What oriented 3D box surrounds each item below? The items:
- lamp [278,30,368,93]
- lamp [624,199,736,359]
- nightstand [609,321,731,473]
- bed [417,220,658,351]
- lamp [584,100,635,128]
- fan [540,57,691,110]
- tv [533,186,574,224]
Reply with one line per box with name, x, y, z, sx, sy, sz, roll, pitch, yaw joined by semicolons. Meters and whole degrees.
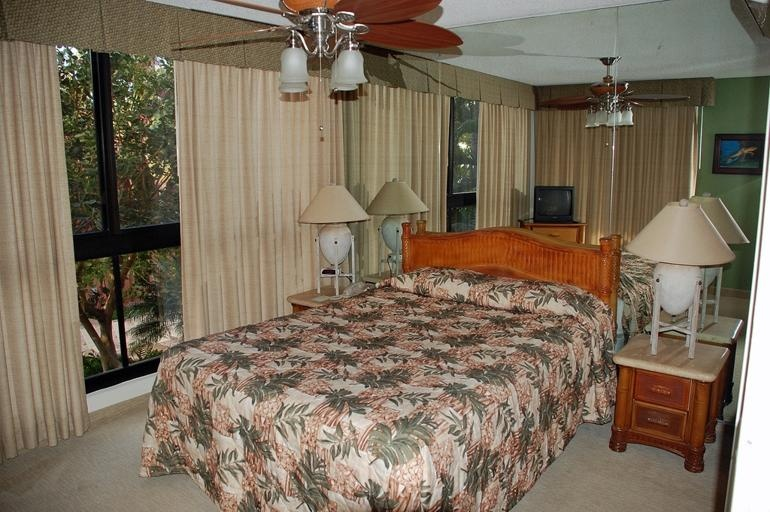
lamp;-0.407;-1.279;3.646;0.603;0.350;0.225;7;26;18
lamp;2.193;0.184;4.161;0.590;1.165;0.430;-5;12;-15
nightstand;2.195;1.081;4.615;0.954;1.009;0.940;6;7;30
bed;1.482;0.188;5.437;1.626;0.935;0.947;11;16;37
lamp;1.901;-1.165;4.690;0.372;0.170;0.143;7;8;36
fan;1.889;-1.437;4.749;1.219;0.450;1.140;-3;14;-3
tv;1.587;-0.489;5.065;0.359;0.320;0.246;7;20;34
